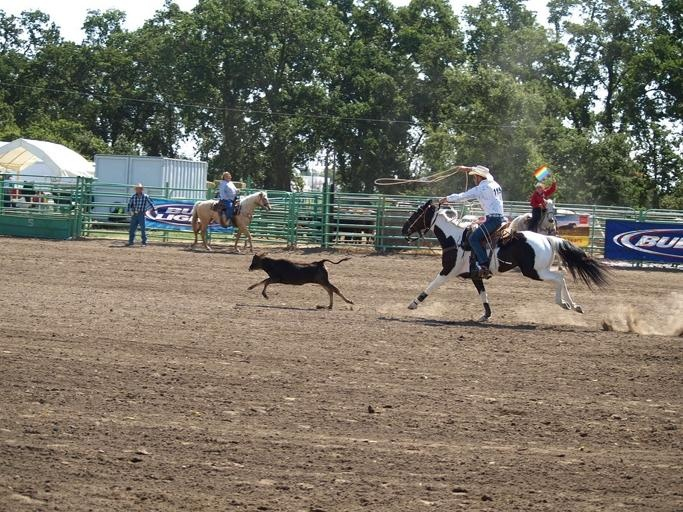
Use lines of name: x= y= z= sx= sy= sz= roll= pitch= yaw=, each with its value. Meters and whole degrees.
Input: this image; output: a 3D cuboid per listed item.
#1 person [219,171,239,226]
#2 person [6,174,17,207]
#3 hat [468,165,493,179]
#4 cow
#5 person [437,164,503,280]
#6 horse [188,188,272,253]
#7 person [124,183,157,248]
person: x=-3.704 y=-1.863 z=36.495 sx=0.593 sy=1.706 sz=0.954 roll=3 pitch=10 yaw=-3
person: x=-12.023 y=-2.396 z=40.625 sx=0.434 sy=1.086 sz=4.237 roll=0 pitch=9 yaw=-17
hat: x=3.262 y=-2.014 z=26.242 sx=0.419 sy=0.140 sz=0.409 roll=11 pitch=-4 yaw=17
cow: x=-1.097 y=0.574 z=27.273 sx=2.487 sy=1.206 sz=0.604 roll=6 pitch=10 yaw=18
person: x=3.198 y=-0.794 z=26.445 sx=1.329 sy=2.626 sz=0.846 roll=1 pitch=10 yaw=-14
horse: x=-3.603 y=-1.134 z=36.864 sx=3.252 sy=1.965 sz=0.896 roll=3 pitch=2 yaw=30
person: x=-6.644 y=-1.345 z=37.053 sx=0.818 sy=2.010 sz=0.718 roll=2 pitch=10 yaw=-10
